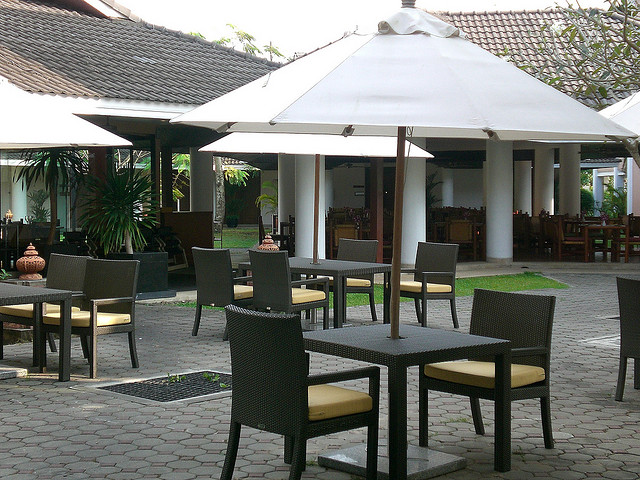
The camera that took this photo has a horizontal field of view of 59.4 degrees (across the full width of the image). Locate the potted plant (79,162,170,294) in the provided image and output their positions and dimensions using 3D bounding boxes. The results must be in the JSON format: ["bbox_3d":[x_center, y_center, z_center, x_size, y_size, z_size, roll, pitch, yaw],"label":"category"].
[{"bbox_3d":[-4.030,-0.162,11.025,1.874,2.774,1.826,7,-2,-10],"label":"potted plant"}]

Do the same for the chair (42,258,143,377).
[{"bbox_3d":[-2.355,0.756,5.692,0.914,0.935,0.934,-5,6,-45],"label":"chair"}]

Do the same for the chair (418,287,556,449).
[{"bbox_3d":[1.096,0.855,3.704,0.868,0.876,0.845,-2,0,-11],"label":"chair"}]

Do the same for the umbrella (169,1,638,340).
[{"bbox_3d":[0.478,-0.227,3.423,2.623,1.635,2.415,1,4,7],"label":"umbrella"}]

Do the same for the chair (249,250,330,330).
[{"bbox_3d":[-0.368,0.651,6.906,0.937,0.919,0.849,2,0,-28],"label":"chair"}]

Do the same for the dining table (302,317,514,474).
[{"bbox_3d":[0.581,0.806,3.412,1.127,0.744,1.119,-2,4,-36],"label":"dining table"}]

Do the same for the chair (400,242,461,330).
[{"bbox_3d":[1.507,0.657,8.197,0.819,1.089,0.889,-3,4,-36],"label":"chair"}]

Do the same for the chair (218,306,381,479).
[{"bbox_3d":[-0.099,0.794,2.936,0.614,0.899,0.564,1,2,41],"label":"chair"}]

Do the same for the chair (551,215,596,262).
[{"bbox_3d":[7.403,-0.094,16.636,0.975,1.009,0.841,6,19,-14],"label":"chair"}]
